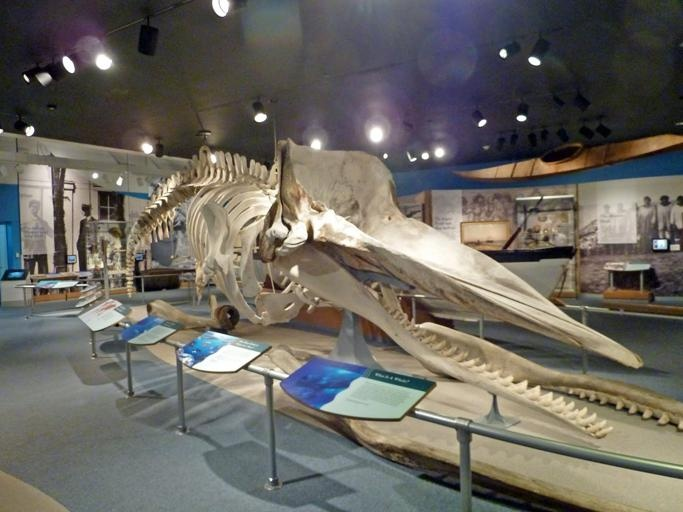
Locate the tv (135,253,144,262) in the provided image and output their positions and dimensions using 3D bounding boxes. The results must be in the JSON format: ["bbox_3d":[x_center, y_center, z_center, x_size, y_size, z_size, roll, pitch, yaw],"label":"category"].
[{"bbox_3d":[-5.183,0.001,11.942,0.229,0.221,0.128,-1,-7,-5],"label":"tv"}]

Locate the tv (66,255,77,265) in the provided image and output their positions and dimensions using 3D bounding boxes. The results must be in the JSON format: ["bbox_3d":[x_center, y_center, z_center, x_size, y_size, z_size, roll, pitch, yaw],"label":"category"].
[{"bbox_3d":[-6.605,0.054,11.427,0.153,0.254,0.300,-1,-2,25],"label":"tv"}]

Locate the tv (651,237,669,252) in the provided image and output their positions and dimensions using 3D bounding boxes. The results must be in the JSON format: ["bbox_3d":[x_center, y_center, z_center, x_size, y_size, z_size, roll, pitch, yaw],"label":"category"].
[{"bbox_3d":[6.295,-0.263,9.306,0.400,0.371,0.217,4,9,39],"label":"tv"}]
